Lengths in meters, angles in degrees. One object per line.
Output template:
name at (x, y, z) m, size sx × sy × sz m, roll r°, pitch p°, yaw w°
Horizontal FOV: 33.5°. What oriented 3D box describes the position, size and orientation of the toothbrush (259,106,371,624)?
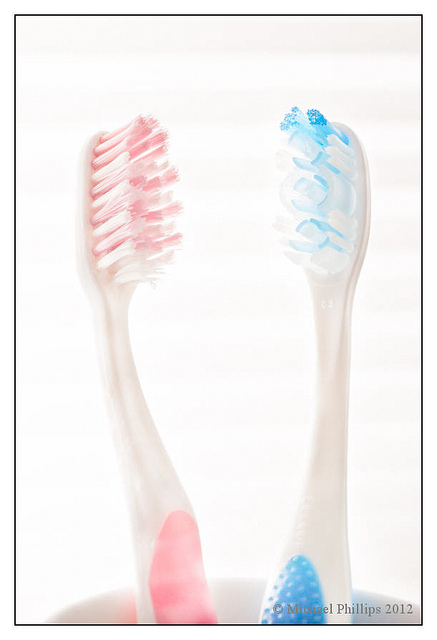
toothbrush at (0.141, 0.098, 1.093) m, size 0.117 × 0.103 × 0.893 m, roll 4°, pitch -85°, yaw 19°
